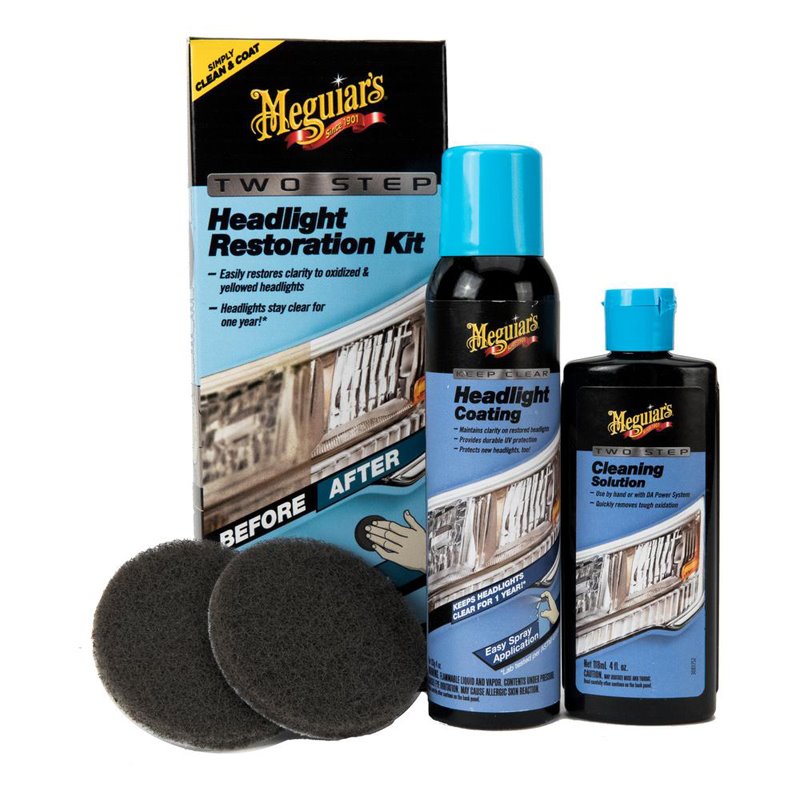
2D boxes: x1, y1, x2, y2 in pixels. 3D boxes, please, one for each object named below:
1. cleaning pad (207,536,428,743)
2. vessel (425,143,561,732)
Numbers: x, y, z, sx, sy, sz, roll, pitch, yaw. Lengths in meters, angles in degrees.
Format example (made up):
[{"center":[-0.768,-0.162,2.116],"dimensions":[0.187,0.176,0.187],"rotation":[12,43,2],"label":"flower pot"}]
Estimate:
[{"center":[-0.120,0.372,1.422],"dimensions":[0.337,0.256,0.204],"rotation":[-6,12,-16],"label":"cleaning pad"},{"center":[0.137,0.061,1.359],"dimensions":[0.199,0.865,0.214],"rotation":[-2,13,8],"label":"vessel"}]
